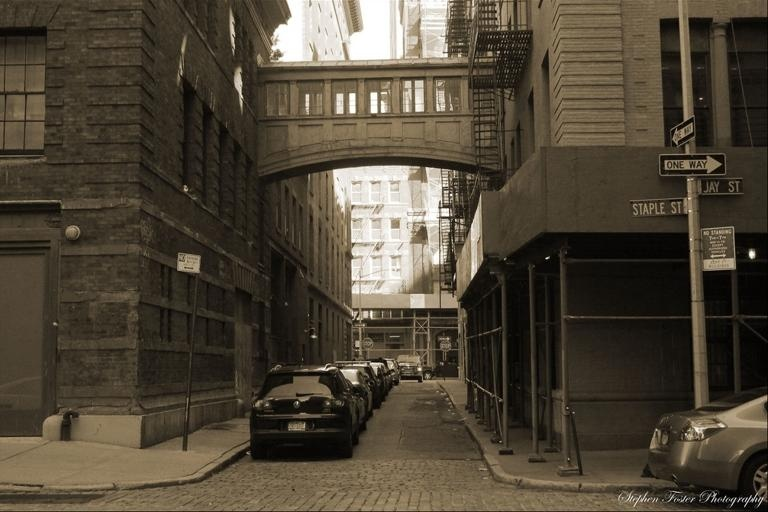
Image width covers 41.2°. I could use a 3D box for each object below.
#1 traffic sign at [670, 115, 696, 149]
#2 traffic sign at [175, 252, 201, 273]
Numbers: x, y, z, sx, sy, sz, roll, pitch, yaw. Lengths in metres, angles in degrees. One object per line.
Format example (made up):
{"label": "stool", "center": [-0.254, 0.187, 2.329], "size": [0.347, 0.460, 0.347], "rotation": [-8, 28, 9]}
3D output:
{"label": "traffic sign", "center": [6.320, -2.639, 21.616], "size": [0.378, 0.577, 0.856], "rotation": [-2, -7, -8]}
{"label": "traffic sign", "center": [-4.844, 0.151, 25.093], "size": [0.530, 0.519, 0.076], "rotation": [-2, -7, -7]}
